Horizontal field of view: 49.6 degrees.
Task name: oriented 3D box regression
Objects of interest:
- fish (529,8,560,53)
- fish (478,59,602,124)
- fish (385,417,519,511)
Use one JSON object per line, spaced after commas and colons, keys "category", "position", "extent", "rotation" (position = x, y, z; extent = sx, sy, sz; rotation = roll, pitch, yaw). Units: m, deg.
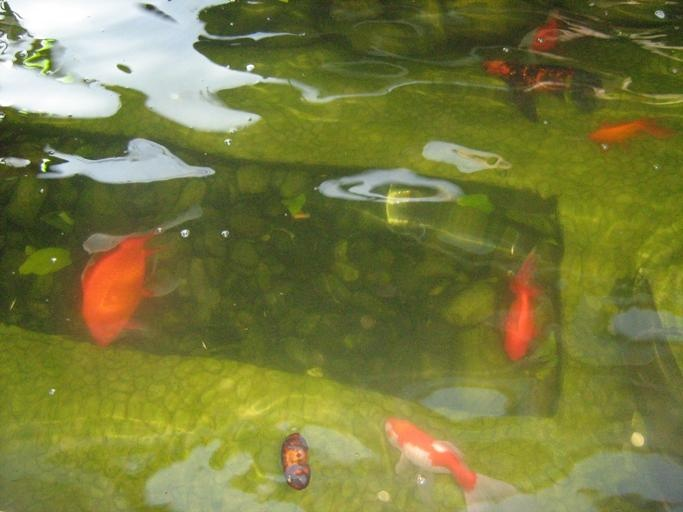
{"category": "fish", "position": [1.530, -1.636, 5.478], "extent": [0.176, 0.134, 0.300], "rotation": [30, 53, 23]}
{"category": "fish", "position": [1.441, -1.187, 5.357], "extent": [0.847, 0.215, 0.388], "rotation": [10, 48, 6]}
{"category": "fish", "position": [0.693, 1.397, 5.015], "extent": [0.866, 0.342, 0.430], "rotation": [37, 63, 13]}
